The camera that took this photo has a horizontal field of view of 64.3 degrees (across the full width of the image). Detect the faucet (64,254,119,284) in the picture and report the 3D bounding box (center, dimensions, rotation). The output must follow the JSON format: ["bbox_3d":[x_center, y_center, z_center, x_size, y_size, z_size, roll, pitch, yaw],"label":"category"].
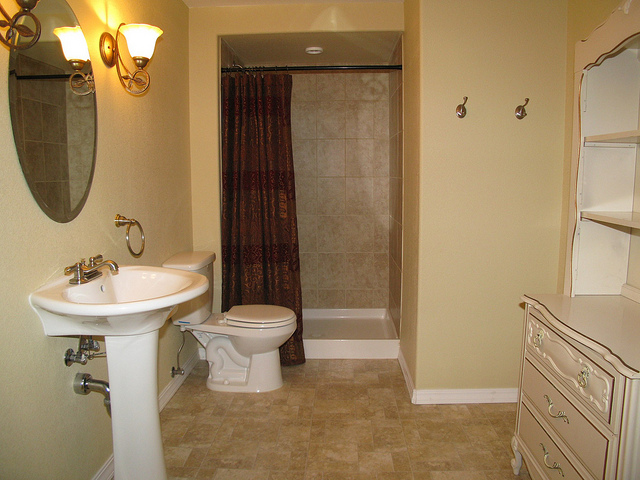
[{"bbox_3d":[-1.058,0.141,2.410,0.204,0.102,0.282,3,12,6],"label":"faucet"}]

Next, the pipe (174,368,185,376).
[{"bbox_3d":[-0.983,0.910,3.515,0.072,0.024,0.076,5,10,-2],"label":"pipe"}]

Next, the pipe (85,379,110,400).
[{"bbox_3d":[-1.053,0.710,2.425,0.155,0.067,0.043,5,12,26],"label":"pipe"}]

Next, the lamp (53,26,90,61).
[{"bbox_3d":[-1.180,-0.936,2.408,0.044,0.173,0.198,2,11,10],"label":"lamp"}]

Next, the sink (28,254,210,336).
[{"bbox_3d":[-0.925,0.246,2.392,0.683,0.371,0.715,0,10,-18],"label":"sink"}]

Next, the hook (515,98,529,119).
[{"bbox_3d":[1.258,-0.808,3.191,0.069,0.119,0.087,29,17,5],"label":"hook"}]

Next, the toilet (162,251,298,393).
[{"bbox_3d":[-0.620,0.580,3.653,0.832,0.919,0.516,4,9,-7],"label":"toilet"}]

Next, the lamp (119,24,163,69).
[{"bbox_3d":[-0.988,-1.047,2.798,0.245,0.204,0.228,-5,5,-32],"label":"lamp"}]

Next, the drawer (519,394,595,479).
[{"bbox_3d":[1.135,0.973,2.430,0.209,0.277,0.426,-1,9,4],"label":"drawer"}]

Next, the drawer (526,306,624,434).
[{"bbox_3d":[1.210,0.549,2.354,0.231,0.272,0.705,9,14,-10],"label":"drawer"}]

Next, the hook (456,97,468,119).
[{"bbox_3d":[0.885,-0.824,3.190,0.059,0.117,0.108,10,4,12],"label":"hook"}]

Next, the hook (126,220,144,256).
[{"bbox_3d":[-1.063,-0.009,2.909,0.094,0.219,0.199,-5,12,-22],"label":"hook"}]
